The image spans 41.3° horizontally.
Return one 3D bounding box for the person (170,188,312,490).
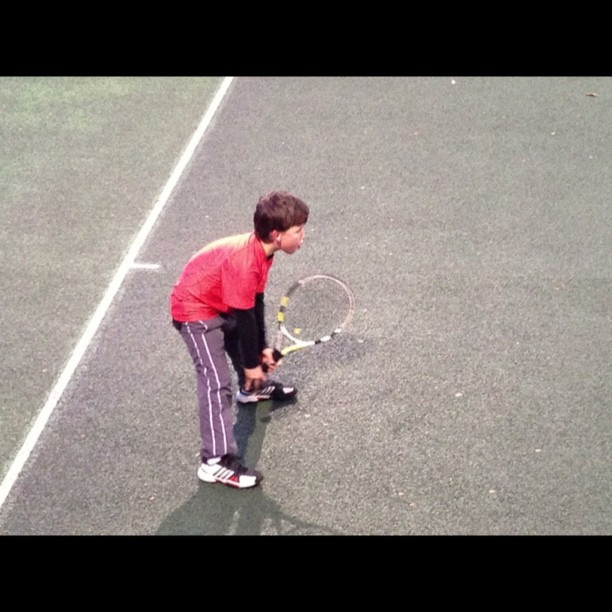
[{"bbox_3d":[-0.504,0.391,6.591,1.000,2.226,1.404,4,35,-4],"label":"person"}]
